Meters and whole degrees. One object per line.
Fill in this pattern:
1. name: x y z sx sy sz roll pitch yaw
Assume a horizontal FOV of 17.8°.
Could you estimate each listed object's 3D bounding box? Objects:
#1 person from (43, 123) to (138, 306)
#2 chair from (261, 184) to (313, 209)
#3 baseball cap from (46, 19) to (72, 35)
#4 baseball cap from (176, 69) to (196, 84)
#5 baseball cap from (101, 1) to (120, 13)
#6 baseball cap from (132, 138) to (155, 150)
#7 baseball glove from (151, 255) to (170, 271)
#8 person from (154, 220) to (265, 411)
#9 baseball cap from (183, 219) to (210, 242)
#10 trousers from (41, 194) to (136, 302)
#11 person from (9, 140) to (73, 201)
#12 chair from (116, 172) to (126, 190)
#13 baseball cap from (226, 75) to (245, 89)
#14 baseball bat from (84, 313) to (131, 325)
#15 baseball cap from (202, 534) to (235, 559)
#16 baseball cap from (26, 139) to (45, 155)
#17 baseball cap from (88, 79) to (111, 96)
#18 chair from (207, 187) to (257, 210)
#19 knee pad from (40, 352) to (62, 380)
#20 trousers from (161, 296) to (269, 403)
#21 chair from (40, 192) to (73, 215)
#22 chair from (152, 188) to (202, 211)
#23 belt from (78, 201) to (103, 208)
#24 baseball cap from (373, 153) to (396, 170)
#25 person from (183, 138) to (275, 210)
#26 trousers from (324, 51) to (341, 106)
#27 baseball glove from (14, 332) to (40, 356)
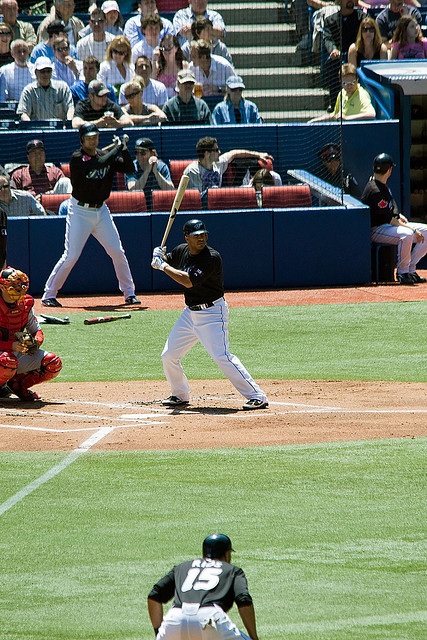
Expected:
1. person: -1.147 -1.135 13.503 0.832 1.650 0.747 -5 10 -25
2. chair: 0.841 -1.452 15.908 0.573 0.244 0.228 -1 9 -2
3. baseball cap: -1.970 -3.747 17.503 0.314 0.184 0.208 -15 28 -10
4. baseball cap: -0.338 -2.929 16.334 0.185 0.157 0.232 -2 10 -6
5. baseball cap: -1.373 -4.144 17.907 0.214 0.163 0.479 -1 10 -5
6. baseball cap: -0.805 -2.050 15.781 0.179 0.115 0.298 1 10 11
7. baseball glove: -0.372 -0.391 9.446 0.086 0.050 0.110 3 26 -47
8. person: -0.066 -0.010 9.364 0.787 1.372 0.565 2 9 16
9. baseball cap: -0.131 -0.597 9.104 0.123 0.111 0.177 -14 9 -29
10. trousers: -1.201 -0.756 13.619 0.836 1.046 0.641 -5 10 -23
11. person: -2.001 -1.707 15.578 0.746 0.738 0.429 -9 23 -27
12. chair: -1.123 -1.679 16.393 0.097 0.194 0.106 -2 9 -10
13. baseball cap: 0.250 -2.957 16.863 0.201 0.154 0.373 0 10 0
14. baseball bat: -1.055 -0.005 13.524 0.545 0.089 0.075 -2 -10 -41
15. baseball cap: 0.011 0.934 5.608 0.114 0.104 0.134 -1 10 -1
16. baseball cap: -2.010 -2.001 15.298 0.209 0.169 0.304 -10 -6 -16
17. baseball cap: -1.307 -2.658 15.537 0.195 0.119 0.135 20 40 31
18. chair: 0.211 -1.408 15.695 0.571 0.246 0.156 -4 10 -17
19. knee pad: -1.182 0.331 9.963 0.165 0.191 0.133 -1 26 -3
20. trousers: -0.008 0.229 9.454 0.701 0.811 0.376 3 10 19
21. chair: -1.811 -1.373 15.501 0.412 0.331 0.243 3 32 -3
22. chair: -0.428 -1.394 15.753 0.427 0.276 0.314 1 4 -11
23. belt: -1.199 -1.131 13.260 0.257 0.075 0.094 -6 11 -27
24. baseball cap: 1.868 -1.765 15.148 0.187 0.163 0.264 1 10 11
25. person: 0.142 -1.689 15.957 1.011 1.130 0.366 -28 65 -21
26. trousers: 1.503 -3.098 17.366 0.159 0.690 0.509 -1 9 -6
27. baseball glove: -1.323 0.171 9.721 0.097 0.134 0.172 -28 43 -20
